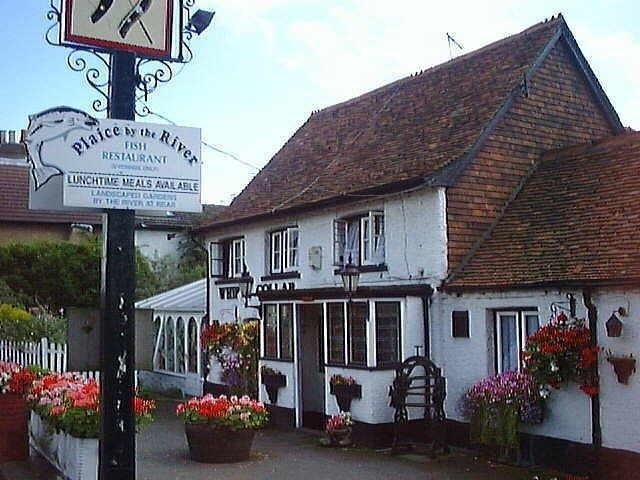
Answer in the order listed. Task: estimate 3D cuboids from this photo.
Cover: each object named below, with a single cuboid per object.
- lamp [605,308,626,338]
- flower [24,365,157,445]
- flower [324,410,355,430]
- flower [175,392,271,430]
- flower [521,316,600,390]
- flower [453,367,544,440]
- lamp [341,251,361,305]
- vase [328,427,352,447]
[{"bbox_3d":[5.335,1.499,13.558,0.361,0.541,0.260,-3,-9,29],"label":"lamp"},{"bbox_3d":[-4.496,2.892,13.214,0.991,1.009,2.744,5,-10,-25],"label":"flower"},{"bbox_3d":[0.452,3.940,16.286,0.418,0.268,0.652,-4,-4,13],"label":"flower"},{"bbox_3d":[-1.837,3.287,14.220,1.615,0.602,0.527,2,-8,-3],"label":"flower"},{"bbox_3d":[4.516,2.116,14.066,1.302,1.404,0.470,-2,-8,23],"label":"flower"},{"bbox_3d":[3.551,3.368,14.800,1.123,1.450,1.340,6,10,43],"label":"flower"},{"bbox_3d":[0.655,0.900,16.419,0.351,0.989,0.653,1,-8,2],"label":"lamp"},{"bbox_3d":[0.446,4.242,16.026,0.295,0.428,0.564,-10,-14,42],"label":"vase"}]
